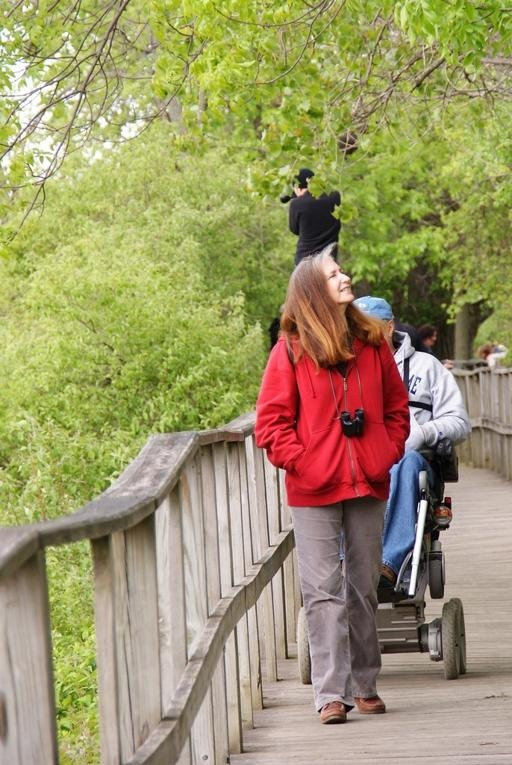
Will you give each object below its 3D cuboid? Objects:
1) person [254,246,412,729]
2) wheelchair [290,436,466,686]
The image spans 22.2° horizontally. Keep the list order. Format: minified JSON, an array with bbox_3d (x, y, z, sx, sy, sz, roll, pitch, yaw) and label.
[{"bbox_3d":[0.266,0.327,4.260,0.491,1.383,0.353,-5,-1,6],"label":"person"},{"bbox_3d":[0.536,0.667,5.099,0.517,0.887,0.734,-2,4,14],"label":"wheelchair"}]
